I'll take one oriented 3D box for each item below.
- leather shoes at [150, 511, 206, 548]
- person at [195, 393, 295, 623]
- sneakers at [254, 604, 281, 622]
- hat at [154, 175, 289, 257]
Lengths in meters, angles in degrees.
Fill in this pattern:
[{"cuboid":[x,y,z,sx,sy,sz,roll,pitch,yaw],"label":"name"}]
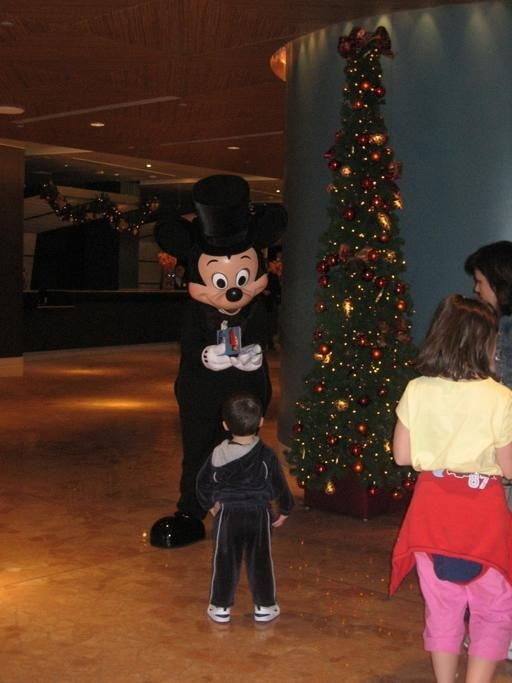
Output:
[{"cuboid":[-0.391,0.952,3.327,0.146,0.095,0.246,-4,-7,40],"label":"leather shoes"},{"cuboid":[-0.038,0.611,2.388,0.345,0.846,0.192,0,3,-8],"label":"person"},{"cuboid":[0.042,0.987,2.437,0.042,0.046,0.125,4,7,35],"label":"sneakers"},{"cuboid":[-0.145,-0.579,3.060,0.639,0.361,0.499,0,2,-8],"label":"hat"}]
